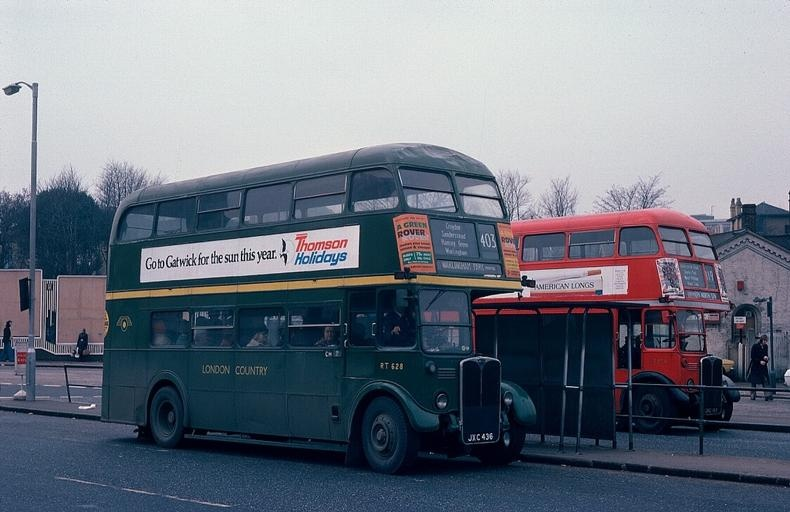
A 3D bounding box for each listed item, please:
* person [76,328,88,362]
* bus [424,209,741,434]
[{"bbox_3d":[-19.649,5.607,50.493,0.698,1.975,1.480,2,-9,-22],"label":"person"},{"bbox_3d":[4.842,1.796,20.648,5.982,4.213,2.381,-3,-3,36],"label":"bus"}]
